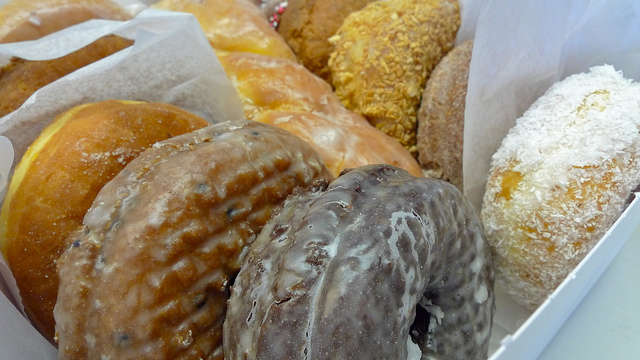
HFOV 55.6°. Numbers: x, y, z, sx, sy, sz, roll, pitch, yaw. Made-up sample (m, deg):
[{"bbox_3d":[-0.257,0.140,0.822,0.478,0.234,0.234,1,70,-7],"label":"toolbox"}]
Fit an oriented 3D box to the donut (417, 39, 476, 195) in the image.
[{"bbox_3d":[0.269,-0.131,1.369,0.103,0.286,0.247,11,24,33],"label":"donut"}]
